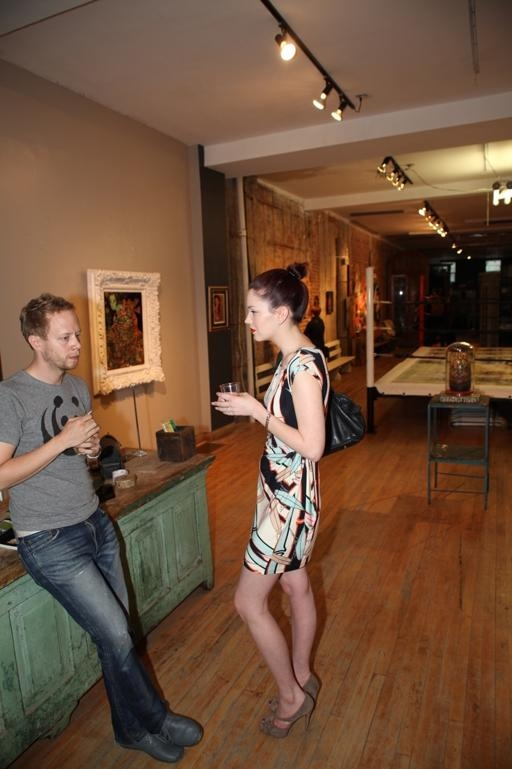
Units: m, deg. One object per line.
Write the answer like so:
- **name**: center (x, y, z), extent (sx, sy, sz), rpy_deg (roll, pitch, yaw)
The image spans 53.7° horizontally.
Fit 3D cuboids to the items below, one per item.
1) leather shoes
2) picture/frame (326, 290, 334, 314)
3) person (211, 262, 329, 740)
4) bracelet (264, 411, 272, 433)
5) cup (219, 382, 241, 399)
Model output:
- **leather shoes**: center (-0.320, 1.128, 1.639), extent (0.237, 0.097, 0.148), rpy_deg (-3, 13, 17)
- **picture/frame**: center (1.585, -1.787, 10.998), extent (0.075, 0.565, 0.519), rpy_deg (3, 10, 23)
- **person**: center (0.064, 0.423, 1.566), extent (0.349, 1.578, 0.487), rpy_deg (-3, 4, -3)
- **bracelet**: center (0.032, 0.103, 1.417), extent (0.011, 0.042, 0.032), rpy_deg (8, -6, 1)
- **cup**: center (-0.084, 0.019, 1.595), extent (0.044, 0.039, 0.048), rpy_deg (0, -5, 0)
